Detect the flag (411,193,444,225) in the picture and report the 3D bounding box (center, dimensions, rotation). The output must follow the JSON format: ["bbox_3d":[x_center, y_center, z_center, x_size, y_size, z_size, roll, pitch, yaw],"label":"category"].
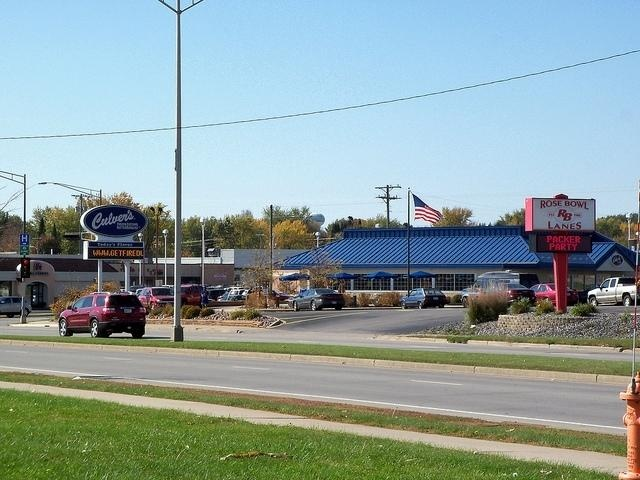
[{"bbox_3d":[7.246,-2.267,67.413,1.795,2.526,0.190,4,-36,-9],"label":"flag"}]

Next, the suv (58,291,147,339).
[{"bbox_3d":[-9.551,3.163,42.720,4.251,2.048,2.790,-3,-8,34],"label":"suv"}]

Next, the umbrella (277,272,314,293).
[{"bbox_3d":[-2.209,3.726,88.830,2.232,1.664,2.262,-1,4,-25],"label":"umbrella"}]

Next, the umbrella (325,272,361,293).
[{"bbox_3d":[1.755,3.644,82.901,1.813,1.301,1.762,-1,5,-32],"label":"umbrella"}]
